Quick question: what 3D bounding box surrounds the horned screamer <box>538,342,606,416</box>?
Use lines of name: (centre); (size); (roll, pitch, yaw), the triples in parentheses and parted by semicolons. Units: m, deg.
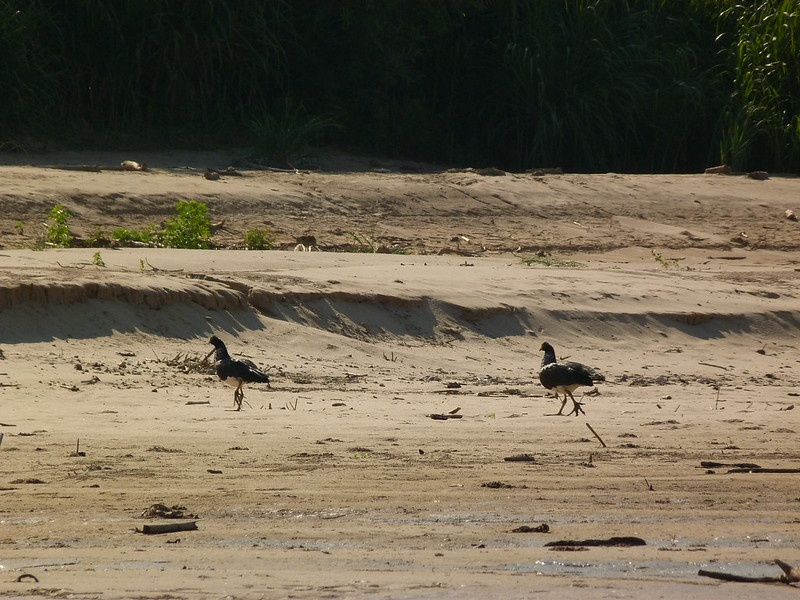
horned screamer: (2.958, 1.335, 34.608); (0.759, 1.269, 1.429); (9, -9, -44)

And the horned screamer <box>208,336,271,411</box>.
horned screamer: (-2.741, 1.258, 34.478); (1.139, 1.309, 0.659); (-6, -8, 22)
